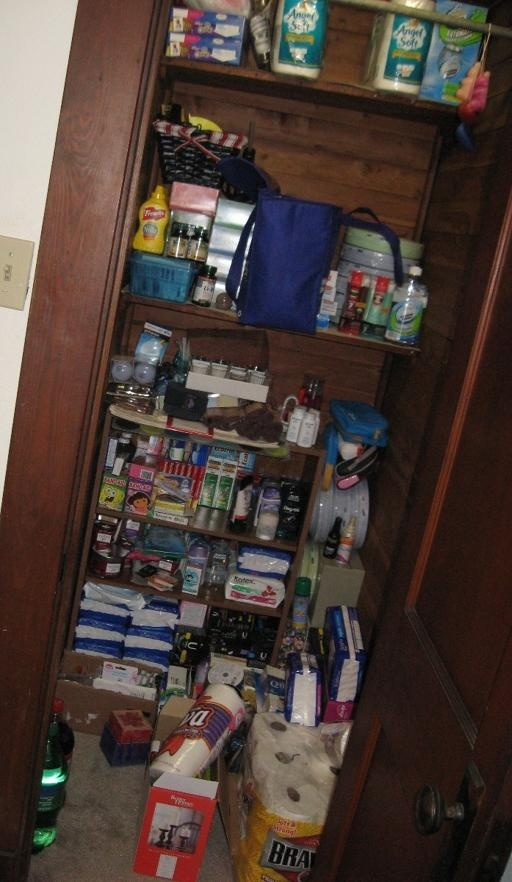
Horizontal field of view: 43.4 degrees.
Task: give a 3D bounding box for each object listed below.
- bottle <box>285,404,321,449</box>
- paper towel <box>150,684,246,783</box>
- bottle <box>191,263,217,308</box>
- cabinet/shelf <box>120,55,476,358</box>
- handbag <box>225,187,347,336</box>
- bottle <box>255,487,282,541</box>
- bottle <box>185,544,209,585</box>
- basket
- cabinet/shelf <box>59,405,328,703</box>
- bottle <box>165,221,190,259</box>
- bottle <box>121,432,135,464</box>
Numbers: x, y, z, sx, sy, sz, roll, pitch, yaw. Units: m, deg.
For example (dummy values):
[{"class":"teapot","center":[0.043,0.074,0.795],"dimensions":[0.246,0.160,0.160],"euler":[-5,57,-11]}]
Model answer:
[{"class":"bottle","center":[0.165,-0.049,2.290],"dimensions":[0.147,0.174,0.095],"euler":[11,12,18]},{"class":"paper towel","center":[-0.135,0.816,1.755],"dimensions":[0.173,0.188,0.327],"euler":[8,28,17]},{"class":"bottle","center":[-0.186,-0.548,2.293],"dimensions":[0.069,0.141,0.075],"euler":[10,16,-3]},{"class":"cabinet/shelf","center":[0.147,-0.821,2.218],"dimensions":[0.993,0.944,0.368],"euler":[11,11,2]},{"class":"handbag","center":[0.104,-0.592,2.289],"dimensions":[0.373,0.422,0.287],"euler":[7,6,14]},{"class":"bottle","center":[0.048,0.256,2.366],"dimensions":[0.077,0.225,0.073],"euler":[5,26,-2]},{"class":"bottle","center":[-0.222,0.454,2.380],"dimensions":[0.058,0.108,0.114],"euler":[6,43,-3]},{"class":"basket","center":[-0.194,-0.949,2.205],"dimensions":[0.244,0.190,0.219],"euler":[2,44,-10]},{"class":"cabinet/shelf","center":[-0.244,0.591,2.584],"dimensions":[0.839,0.484,1.647],"euler":[2,37,0]},{"class":"bottle","center":[-0.274,-0.695,2.256],"dimensions":[0.078,0.116,0.091],"euler":[8,17,-11]},{"class":"bottle","center":[-0.470,0.037,2.368],"dimensions":[0.021,0.097,0.069],"euler":[1,-8,24]}]
